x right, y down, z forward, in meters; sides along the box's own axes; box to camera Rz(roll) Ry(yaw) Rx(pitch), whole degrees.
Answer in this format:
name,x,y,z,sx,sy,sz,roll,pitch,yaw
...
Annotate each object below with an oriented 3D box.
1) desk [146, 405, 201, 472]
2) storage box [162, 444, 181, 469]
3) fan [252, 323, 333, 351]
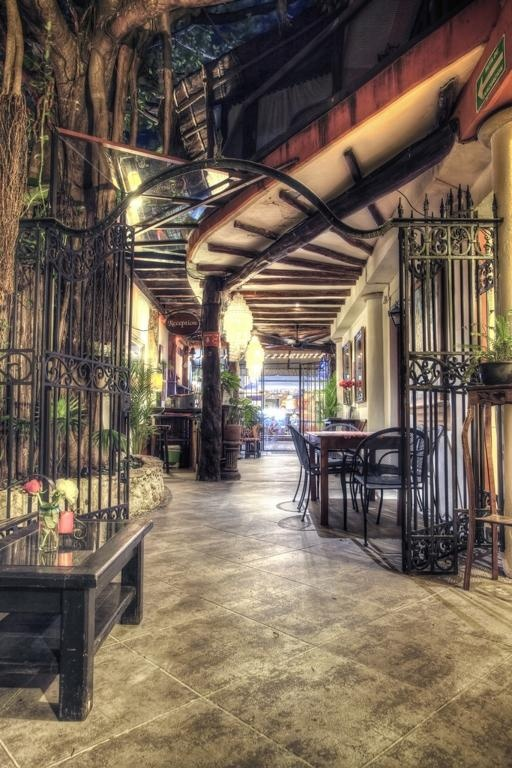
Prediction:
name,x,y,z,sx,sy,sz,roll,pitch,yaw
desk,-1.289,0.855,9.201,0.830,1.291,0.876,1,-1,-2
storage box,-1.261,1.171,9.425,0.339,0.456,0.370,-2,-4,16
fan,1.006,-1.046,15.203,1.932,0.490,1.538,1,-3,-5
